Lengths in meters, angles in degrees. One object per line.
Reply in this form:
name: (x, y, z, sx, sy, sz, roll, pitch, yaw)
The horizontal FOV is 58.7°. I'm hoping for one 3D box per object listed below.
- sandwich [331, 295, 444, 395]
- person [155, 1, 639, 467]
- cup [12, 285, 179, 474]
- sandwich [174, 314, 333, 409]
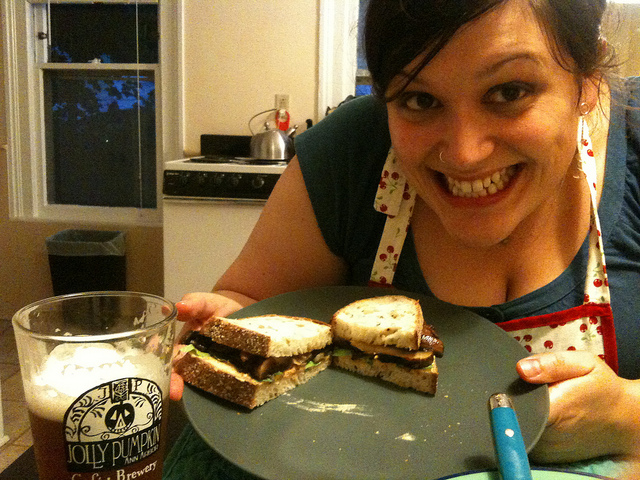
sandwich: (0.187, 0.234, 1.287, 0.272, 0.109, 0.359, -9, 10, -17)
person: (0.257, -0.068, 1.318, 0.878, 0.912, 0.663, 3, 12, 32)
cup: (-0.302, 0.209, 0.812, 0.209, 0.250, 0.152, -8, 11, -29)
sandwich: (-0.155, 0.239, 1.305, 0.309, 0.130, 0.391, 11, 4, 25)
